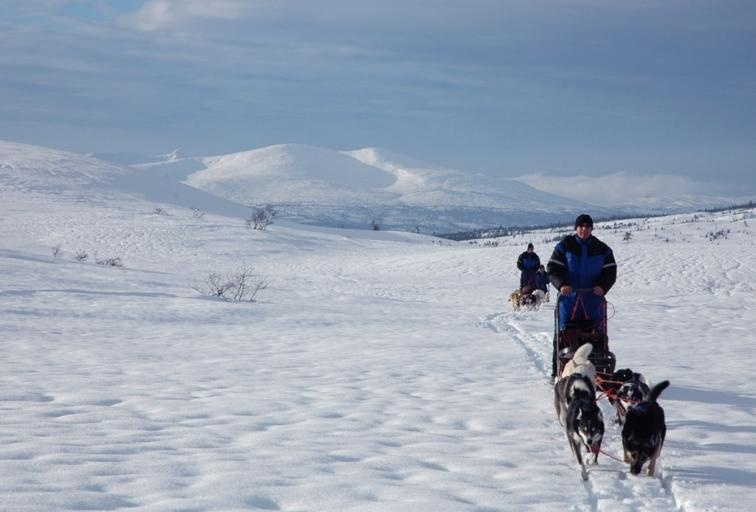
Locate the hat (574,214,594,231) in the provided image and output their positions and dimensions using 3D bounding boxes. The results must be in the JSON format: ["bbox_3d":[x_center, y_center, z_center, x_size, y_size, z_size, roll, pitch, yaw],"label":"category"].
[{"bbox_3d":[4.890,-0.792,23.356,0.392,0.355,0.370,6,10,16],"label":"hat"}]

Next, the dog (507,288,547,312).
[{"bbox_3d":[4.853,1.497,32.302,1.050,0.792,0.461,10,12,38],"label":"dog"}]
